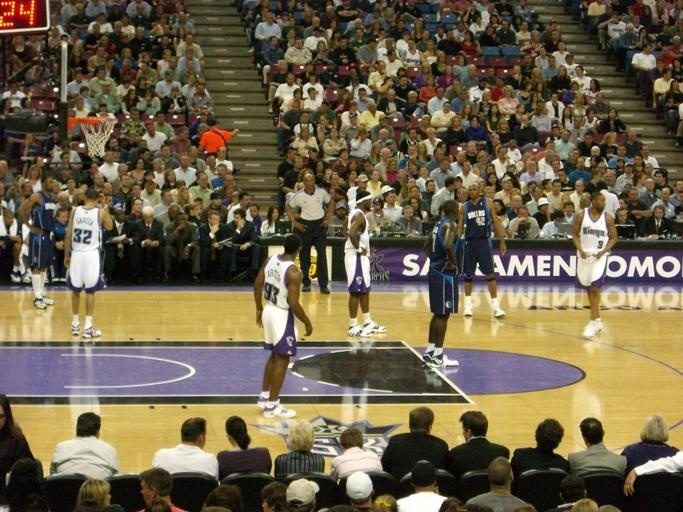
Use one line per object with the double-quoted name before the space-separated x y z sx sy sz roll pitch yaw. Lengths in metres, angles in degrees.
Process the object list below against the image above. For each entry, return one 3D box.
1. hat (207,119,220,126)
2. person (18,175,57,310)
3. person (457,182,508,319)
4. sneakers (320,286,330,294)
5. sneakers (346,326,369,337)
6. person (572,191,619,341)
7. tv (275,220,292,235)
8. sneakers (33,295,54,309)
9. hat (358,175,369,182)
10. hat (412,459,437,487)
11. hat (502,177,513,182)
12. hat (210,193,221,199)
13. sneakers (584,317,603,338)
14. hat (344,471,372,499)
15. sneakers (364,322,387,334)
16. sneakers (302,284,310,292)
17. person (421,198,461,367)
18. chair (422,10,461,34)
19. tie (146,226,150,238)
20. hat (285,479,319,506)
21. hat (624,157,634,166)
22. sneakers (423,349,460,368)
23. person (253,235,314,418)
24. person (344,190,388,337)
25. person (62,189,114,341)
"hat" -2.683 -2.785 23.179 0.164 0.135 0.417 -2 11 -13
"person" -4.999 -0.270 18.589 0.513 2.161 1.291 -2 10 -14
"person" 2.270 -0.069 17.969 0.694 2.275 0.866 6 11 27
"sneakers" -0.276 0.588 20.080 0.174 0.137 0.220 0 10 -4
"sneakers" 0.269 1.124 16.978 0.303 0.155 0.148 -3 10 -5
"person" 3.926 0.094 17.259 0.630 2.171 0.807 2 10 10
"tv" -1.049 -0.527 20.588 0.379 0.389 0.095 2 -6 5
"sneakers" -4.962 0.758 18.409 0.231 0.105 0.248 4 8 16
"hat" 0.385 -1.349 19.386 0.168 0.119 0.343 0 11 -2
"hat" 0.824 2.110 10.909 0.157 0.140 0.258 0 22 4
"hat" 3.227 -1.475 21.416 0.166 0.124 0.197 2 10 4
"hat" -2.313 -1.098 20.553 0.136 0.144 0.108 27 -9 -34
"sneakers" 3.936 1.103 17.243 0.166 0.200 0.435 -3 27 41
"hat" 0.186 2.187 10.668 0.163 0.143 0.268 2 23 4
"sneakers" 0.550 1.093 17.179 0.387 0.195 0.145 0 6 -24
"sneakers" -0.616 0.573 20.183 0.097 0.114 0.117 1 12 -5
"person" 1.436 0.350 15.588 0.484 2.292 0.757 1 10 5
"chair" 2.517 -5.826 27.789 0.726 0.745 0.599 -1 4 -8
"tie" -3.480 -0.452 20.184 0.071 0.194 0.019 1 10 3
"hat" -0.345 2.200 10.526 0.372 0.215 0.199 -6 12 -34
"hat" 6.104 -2.001 23.415 0.206 0.110 0.341 2 8 4
"sneakers" 1.442 1.437 15.593 0.539 0.234 0.205 6 7 -9
"person" -0.742 0.839 13.740 0.753 2.206 0.579 4 10 19
"person" 0.319 0.096 16.997 0.531 2.221 0.424 -8 13 -40
"person" -3.787 0.096 16.686 0.676 2.123 0.781 -2 10 -13
